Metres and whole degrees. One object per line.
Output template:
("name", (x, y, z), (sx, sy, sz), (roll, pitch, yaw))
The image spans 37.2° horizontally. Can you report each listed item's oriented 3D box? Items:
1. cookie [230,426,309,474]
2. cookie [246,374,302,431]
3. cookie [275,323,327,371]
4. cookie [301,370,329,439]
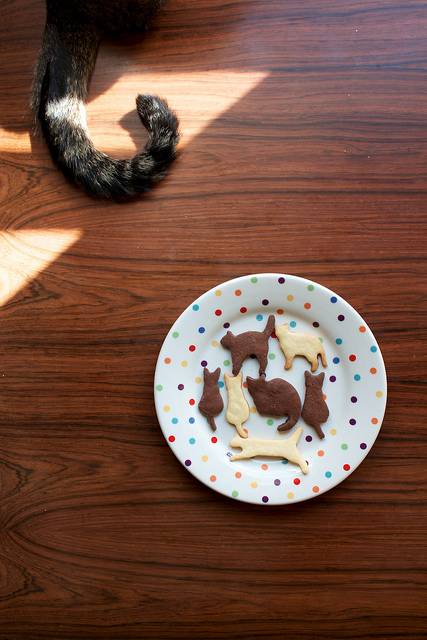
("cookie", (0.102, 0.248, 1.211), (0.160, 0.016, 0.085), (5, 74, -15))
("cookie", (0.114, 0.164, 1.220), (0.124, 0.021, 0.112), (-1, 85, 9))
("cookie", (0.166, 0.059, 1.237), (0.123, 0.018, 0.090), (6, 80, -21))
("cookie", (0.194, 0.163, 1.219), (0.051, 0.026, 0.126), (4, 76, 8))
